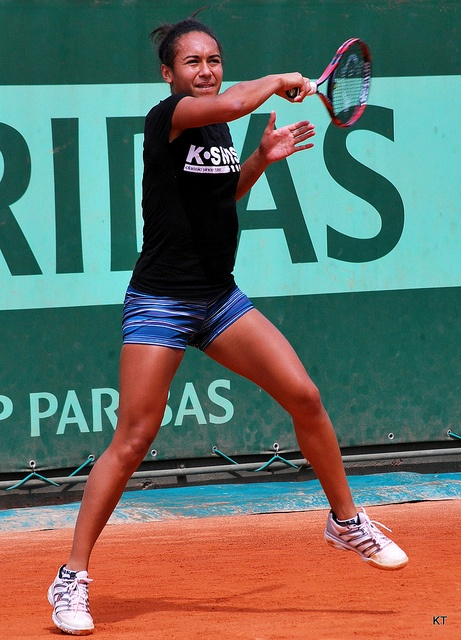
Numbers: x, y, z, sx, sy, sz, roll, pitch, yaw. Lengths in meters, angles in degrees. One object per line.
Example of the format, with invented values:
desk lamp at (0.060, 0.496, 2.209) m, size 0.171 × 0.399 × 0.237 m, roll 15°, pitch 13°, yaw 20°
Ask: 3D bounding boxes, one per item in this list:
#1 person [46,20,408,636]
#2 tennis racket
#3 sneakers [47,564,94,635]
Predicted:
person at (-0.015, 0.046, 1.811) m, size 0.884 × 1.472 × 0.465 m, roll -1°, pitch -4°, yaw -32°
tennis racket at (0.368, -0.938, 2.668) m, size 0.065 × 0.321 × 0.805 m, roll 5°, pitch 20°, yaw -20°
sneakers at (-0.418, 0.714, 1.712) m, size 0.075 × 0.090 × 0.200 m, roll 8°, pitch 10°, yaw -24°
